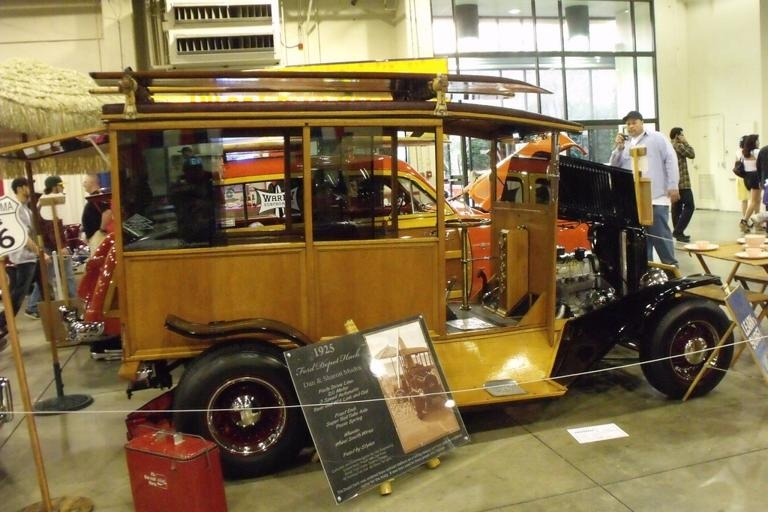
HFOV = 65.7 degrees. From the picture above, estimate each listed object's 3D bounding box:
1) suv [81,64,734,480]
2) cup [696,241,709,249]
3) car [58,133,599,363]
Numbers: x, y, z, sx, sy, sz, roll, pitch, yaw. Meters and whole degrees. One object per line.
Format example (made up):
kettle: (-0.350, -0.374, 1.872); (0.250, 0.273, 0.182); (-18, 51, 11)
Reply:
suv: (0.354, -0.195, 6.626); (6.080, 3.432, 3.073); (-4, 10, -12)
cup: (3.574, -0.120, 6.679); (0.094, 0.060, 0.095); (-8, 2, 0)
car: (-0.454, -0.447, 6.707); (5.986, 2.640, 3.162); (-4, 7, -9)
